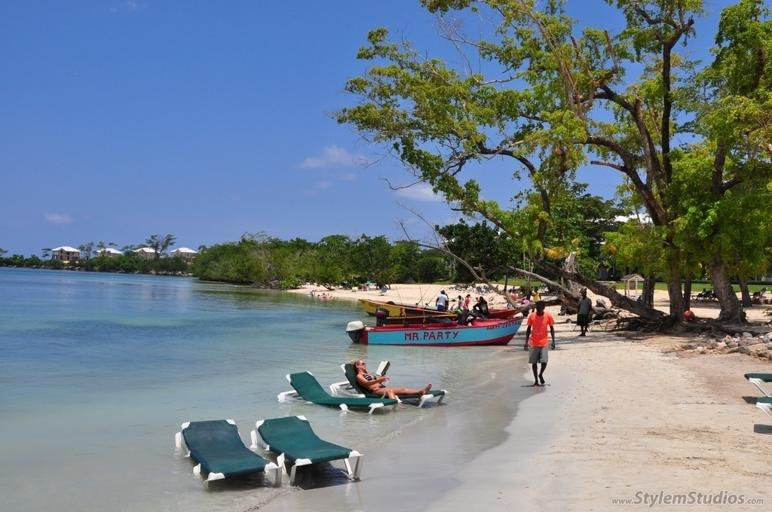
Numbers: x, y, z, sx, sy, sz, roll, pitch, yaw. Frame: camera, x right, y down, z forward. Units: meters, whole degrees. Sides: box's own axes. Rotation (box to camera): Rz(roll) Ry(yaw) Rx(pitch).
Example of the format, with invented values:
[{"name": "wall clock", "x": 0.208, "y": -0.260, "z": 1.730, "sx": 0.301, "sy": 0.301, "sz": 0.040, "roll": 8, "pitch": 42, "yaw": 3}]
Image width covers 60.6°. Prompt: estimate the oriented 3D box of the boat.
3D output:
[{"name": "boat", "x": 2.990, "y": 3.748, "z": 35.640, "sx": 8.280, "sy": 1.846, "sz": 8.896, "roll": 0, "pitch": -4, "yaw": 9}]
